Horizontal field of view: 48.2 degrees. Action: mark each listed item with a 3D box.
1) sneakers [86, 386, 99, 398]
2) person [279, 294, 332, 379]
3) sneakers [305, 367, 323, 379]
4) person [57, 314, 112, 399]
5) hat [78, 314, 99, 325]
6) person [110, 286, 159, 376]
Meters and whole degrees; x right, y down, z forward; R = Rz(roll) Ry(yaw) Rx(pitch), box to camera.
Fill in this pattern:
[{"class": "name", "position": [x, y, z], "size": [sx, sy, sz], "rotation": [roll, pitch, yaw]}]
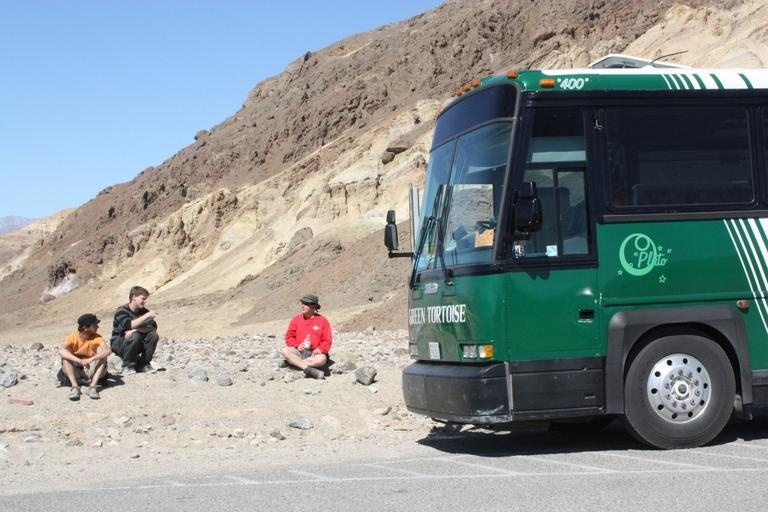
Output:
[{"class": "sneakers", "position": [-4.989, 2.317, 14.690], "size": [0.209, 0.171, 0.330], "rotation": [-4, 5, -18]}, {"class": "person", "position": [-1.468, 1.460, 16.367], "size": [0.949, 1.543, 1.126], "rotation": [-3, 5, -7]}, {"class": "sneakers", "position": [-1.280, 2.160, 15.968], "size": [0.402, 0.138, 0.154], "rotation": [-1, -38, 37]}, {"class": "person", "position": [-5.233, 1.698, 14.928], "size": [0.972, 1.318, 1.524], "rotation": [0, 0, -20]}, {"class": "hat", "position": [-5.064, 1.068, 14.677], "size": [0.326, 0.137, 0.230], "rotation": [-11, 12, -30]}, {"class": "person", "position": [-4.676, 1.340, 15.941], "size": [0.809, 1.609, 0.762], "rotation": [-3, 5, -3]}]
